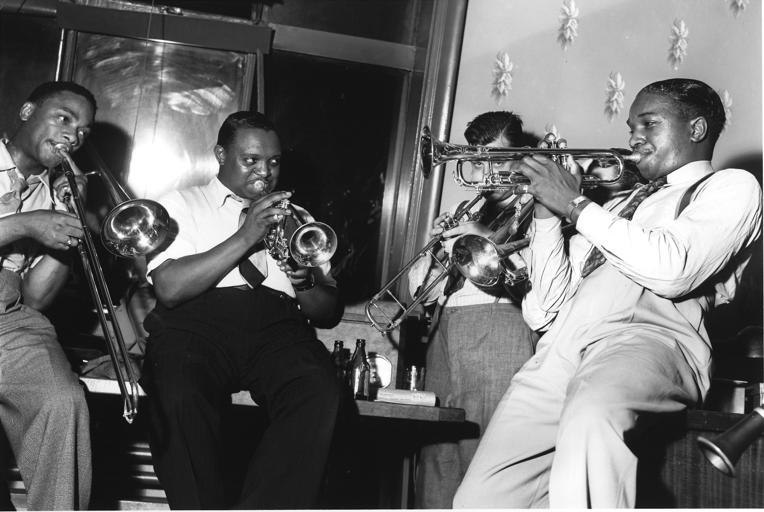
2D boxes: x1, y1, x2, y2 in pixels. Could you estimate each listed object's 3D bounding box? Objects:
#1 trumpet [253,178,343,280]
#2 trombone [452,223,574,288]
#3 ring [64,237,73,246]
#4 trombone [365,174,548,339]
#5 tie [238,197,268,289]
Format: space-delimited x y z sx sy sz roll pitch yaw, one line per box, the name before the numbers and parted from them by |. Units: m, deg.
trumpet | -0.372 -0.081 3.071 0.203 0.212 0.407 28 5 -24
trombone | 0.630 0.030 3.590 0.427 0.374 0.573 6 1 -5
ring | -1.355 -0.061 2.947 0.039 0.036 0.012 2 -5 -23
trombone | 0.603 -0.088 3.746 1.494 0.585 0.447 -28 5 -27
tie | -0.603 0.013 3.073 0.047 0.424 0.141 3 -14 -44
